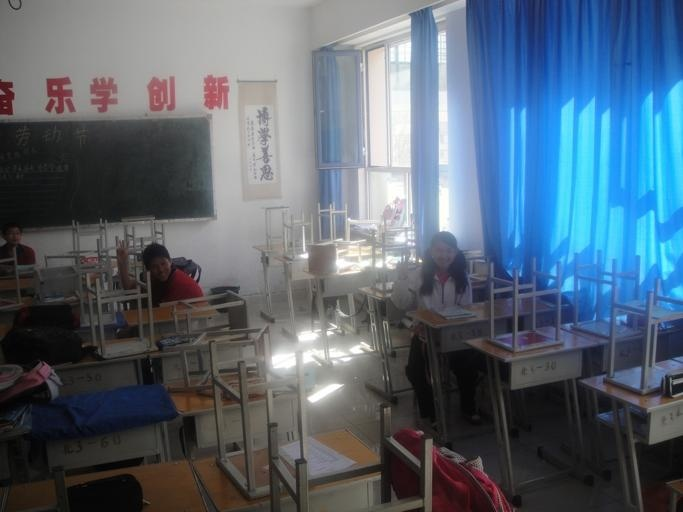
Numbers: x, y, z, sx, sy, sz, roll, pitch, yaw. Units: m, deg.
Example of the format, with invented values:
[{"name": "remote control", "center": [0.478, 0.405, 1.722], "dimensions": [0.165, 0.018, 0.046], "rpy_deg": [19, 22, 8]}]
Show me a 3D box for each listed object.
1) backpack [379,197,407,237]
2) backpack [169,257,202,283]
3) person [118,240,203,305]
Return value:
[{"name": "backpack", "center": [0.594, -0.456, 6.100], "dimensions": [0.115, 0.464, 0.278], "rpy_deg": [27, -4, -34]}, {"name": "backpack", "center": [-1.478, 0.128, 5.085], "dimensions": [0.225, 0.216, 0.163], "rpy_deg": [41, 17, 6]}, {"name": "person", "center": [-1.500, 0.132, 4.408], "dimensions": [0.381, 0.840, 0.261], "rpy_deg": [-16, 11, -12]}]
